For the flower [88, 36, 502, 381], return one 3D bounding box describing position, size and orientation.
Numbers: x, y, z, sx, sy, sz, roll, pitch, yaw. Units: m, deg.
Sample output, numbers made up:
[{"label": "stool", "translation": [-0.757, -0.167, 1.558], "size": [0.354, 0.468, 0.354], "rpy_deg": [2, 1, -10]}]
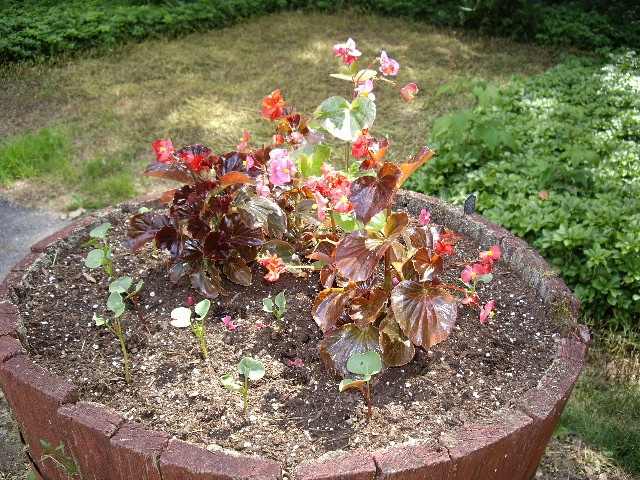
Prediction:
[{"label": "flower", "translation": [-0.061, -0.166, 4.016], "size": [2.120, 1.430, 1.496], "rpy_deg": [18, 46, 17]}]
